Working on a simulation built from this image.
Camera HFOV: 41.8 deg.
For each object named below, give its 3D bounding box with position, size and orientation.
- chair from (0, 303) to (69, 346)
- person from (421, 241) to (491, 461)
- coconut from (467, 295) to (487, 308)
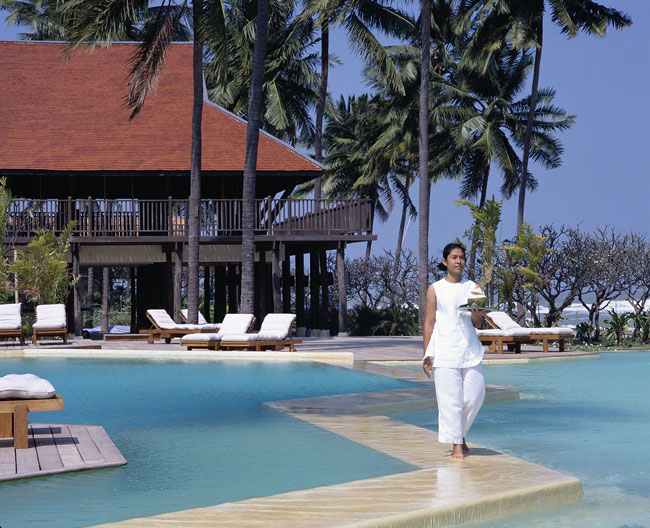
[{"bbox_3d":[-6.828,1.397,19.887,1.495,0.947,1.159,3,-5,-31],"label":"chair"},{"bbox_3d":[1.231,0.822,8.160,0.572,2.069,0.390,-1,-3,14],"label":"person"},{"bbox_3d":[1.415,0.356,7.939,0.103,0.091,0.119,0,-2,-5],"label":"coconut"}]
